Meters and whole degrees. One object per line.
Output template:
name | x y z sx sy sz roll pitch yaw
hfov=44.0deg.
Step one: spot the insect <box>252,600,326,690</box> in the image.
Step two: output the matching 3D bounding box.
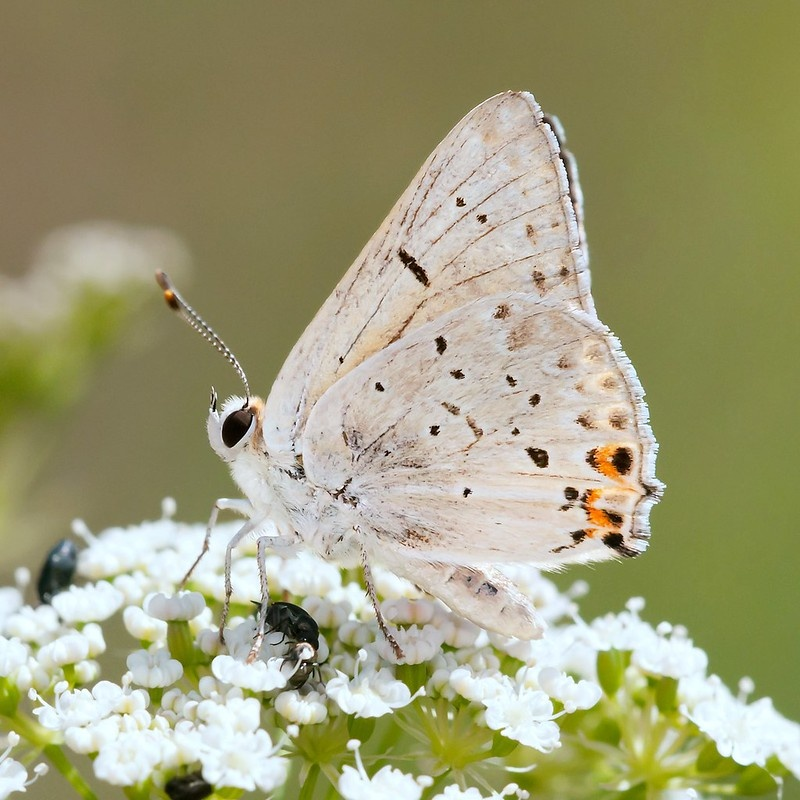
insect | -0.369 0.665 3.036 0.095 0.224 0.290 -26 -91 -8
